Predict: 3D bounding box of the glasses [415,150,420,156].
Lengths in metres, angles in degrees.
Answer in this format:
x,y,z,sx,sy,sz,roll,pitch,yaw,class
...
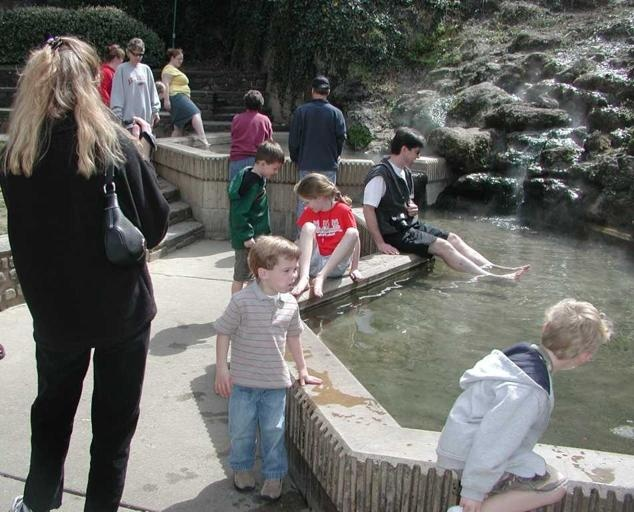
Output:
x,y,z,sx,sy,sz,roll,pitch,yaw,class
0.911,-0.945,5.611,0.026,0.062,0.139,7,14,15,glasses

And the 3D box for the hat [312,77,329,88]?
x,y,z,sx,sy,sz,roll,pitch,yaw,class
0.032,-1.793,6.403,0.161,0.119,0.224,3,14,-5,hat

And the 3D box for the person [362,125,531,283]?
x,y,z,sx,sy,sz,roll,pitch,yaw,class
1.048,-0.526,5.693,1.236,1.244,0.527,6,13,7,person

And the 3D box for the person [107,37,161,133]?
x,y,z,sx,sy,sz,roll,pitch,yaw,class
-2.117,-1.709,7.231,0.575,1.585,0.414,-16,37,-38,person

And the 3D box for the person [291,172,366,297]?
x,y,z,sx,sy,sz,roll,pitch,yaw,class
0.033,-0.159,4.536,0.551,0.931,0.836,2,21,11,person

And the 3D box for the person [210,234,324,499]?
x,y,z,sx,sy,sz,roll,pitch,yaw,class
-0.290,0.524,2.974,0.408,1.208,0.347,3,13,-1,person
